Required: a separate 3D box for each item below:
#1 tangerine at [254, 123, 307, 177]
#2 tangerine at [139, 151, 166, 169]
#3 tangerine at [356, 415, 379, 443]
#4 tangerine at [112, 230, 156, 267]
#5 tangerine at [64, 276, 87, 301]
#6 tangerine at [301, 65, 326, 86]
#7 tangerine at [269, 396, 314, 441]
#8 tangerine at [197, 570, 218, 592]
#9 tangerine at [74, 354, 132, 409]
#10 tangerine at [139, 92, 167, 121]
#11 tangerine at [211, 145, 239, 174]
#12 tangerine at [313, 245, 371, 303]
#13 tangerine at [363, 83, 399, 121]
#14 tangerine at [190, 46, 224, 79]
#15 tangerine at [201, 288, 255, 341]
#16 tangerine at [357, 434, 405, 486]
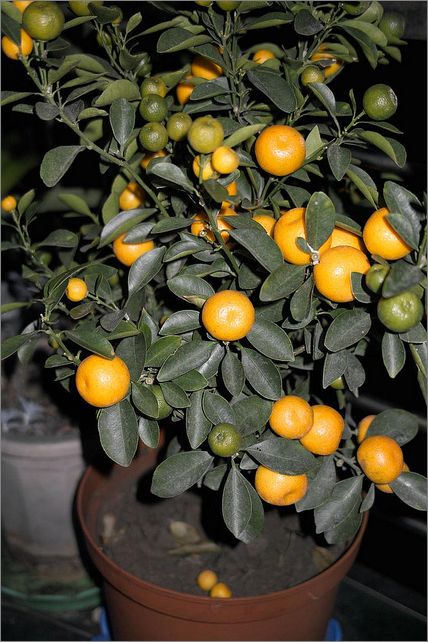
[{"bbox_3d":[0.092,-0.232,0.796,0.067,0.080,0.061,-3,38,-8],"label":"tangerine"},{"bbox_3d":[-0.107,-0.273,0.947,0.043,0.047,0.041,-2,19,-15],"label":"tangerine"},{"bbox_3d":[0.262,0.185,0.982,0.049,0.054,0.047,2,2,9],"label":"tangerine"},{"bbox_3d":[-0.132,-0.123,0.948,0.060,0.065,0.057,1,11,-3],"label":"tangerine"},{"bbox_3d":[-0.211,-0.052,0.893,0.036,0.041,0.037,0,9,-34],"label":"tangerine"},{"bbox_3d":[0.148,-0.366,0.848,0.033,0.025,0.052,7,37,5],"label":"tangerine"},{"bbox_3d":[0.120,0.151,0.876,0.062,0.061,0.059,15,39,16],"label":"tangerine"},{"bbox_3d":[-0.014,0.524,1.139,0.035,0.038,0.035,3,39,1],"label":"tangerine"},{"bbox_3d":[-0.153,0.081,0.828,0.075,0.075,0.074,-6,62,-31],"label":"tangerine"},{"bbox_3d":[-0.092,-0.318,0.854,0.042,0.055,0.081,-1,37,-6],"label":"tangerine"},{"bbox_3d":[0.019,-0.203,0.710,0.035,0.032,0.035,4,18,18],"label":"tangerine"},{"bbox_3d":[0.173,-0.064,0.788,0.075,0.075,0.071,7,68,13],"label":"tangerine"},{"bbox_3d":[0.233,-0.308,0.795,0.052,0.055,0.049,-8,13,-22],"label":"tangerine"},{"bbox_3d":[-0.021,-0.445,0.977,0.061,0.067,0.058,-7,30,-7],"label":"tangerine"},{"bbox_3d":[0.023,-0.005,0.783,0.080,0.071,0.076,19,3,9],"label":"tangerine"},{"bbox_3d":[0.279,0.217,0.897,0.089,0.075,0.078,3,-8,12],"label":"tangerine"}]
